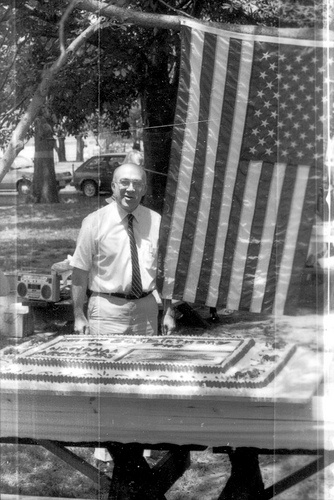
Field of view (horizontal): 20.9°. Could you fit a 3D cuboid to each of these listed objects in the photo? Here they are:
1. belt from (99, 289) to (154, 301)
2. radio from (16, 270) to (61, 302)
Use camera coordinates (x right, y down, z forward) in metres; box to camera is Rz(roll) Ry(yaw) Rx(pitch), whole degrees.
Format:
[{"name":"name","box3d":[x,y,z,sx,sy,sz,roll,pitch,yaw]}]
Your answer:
[{"name":"belt","box3d":[-0.195,0.214,4.206,0.248,0.036,0.045,-2,11,-6]},{"name":"radio","box3d":[-0.604,0.176,4.223,0.205,0.137,0.048,1,10,8]}]
